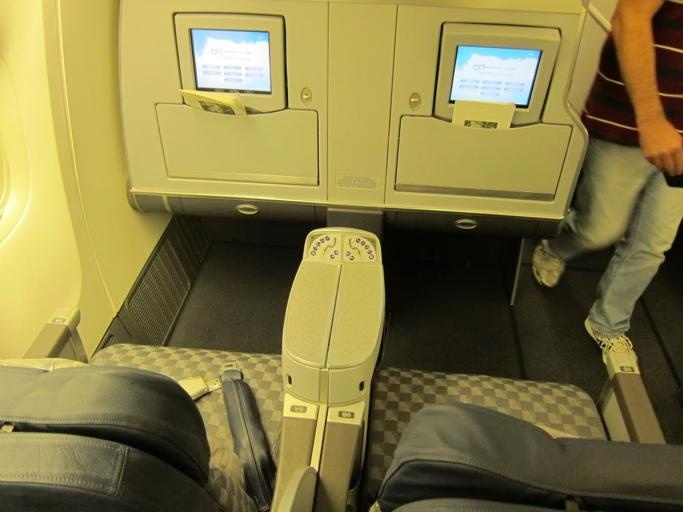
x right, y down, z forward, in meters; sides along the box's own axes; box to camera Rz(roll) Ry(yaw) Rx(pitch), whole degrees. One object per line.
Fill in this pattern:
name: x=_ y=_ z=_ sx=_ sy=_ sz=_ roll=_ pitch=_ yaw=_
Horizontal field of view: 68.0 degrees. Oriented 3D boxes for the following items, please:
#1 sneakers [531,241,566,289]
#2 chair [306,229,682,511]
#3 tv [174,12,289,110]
sneakers: x=0.868 y=0.037 z=2.113 sx=0.103 sy=0.198 sz=0.080 roll=-10 pitch=0 yaw=12
chair: x=0.467 y=0.442 z=1.600 sx=0.703 sy=0.661 sz=0.713 roll=5 pitch=46 yaw=5
tv: x=-0.322 y=-0.602 z=1.592 sx=0.351 sy=0.313 sz=0.198 roll=5 pitch=18 yaw=10
